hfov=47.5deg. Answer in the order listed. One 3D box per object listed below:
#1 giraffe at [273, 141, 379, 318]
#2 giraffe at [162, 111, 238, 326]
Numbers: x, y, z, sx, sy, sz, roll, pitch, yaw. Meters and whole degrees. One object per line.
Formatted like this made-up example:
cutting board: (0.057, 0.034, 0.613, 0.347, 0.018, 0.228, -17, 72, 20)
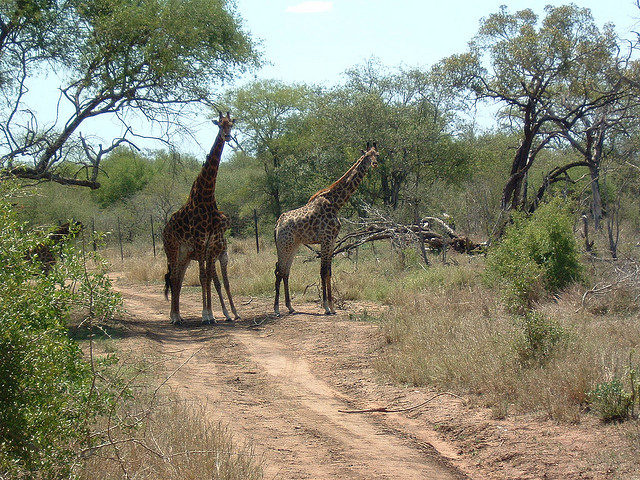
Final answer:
giraffe: (0.016, -0.179, 17.756, 2.478, 3.885, 1.551, -4, 4, -3)
giraffe: (-2.809, -0.482, 16.948, 1.692, 4.840, 1.382, -4, 4, -6)
